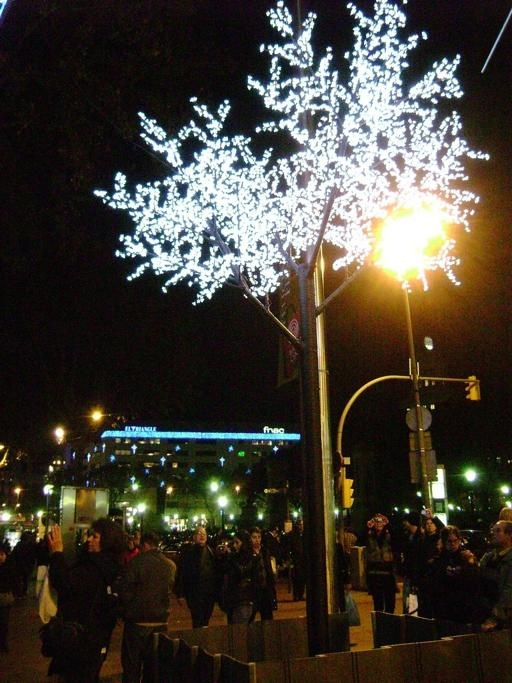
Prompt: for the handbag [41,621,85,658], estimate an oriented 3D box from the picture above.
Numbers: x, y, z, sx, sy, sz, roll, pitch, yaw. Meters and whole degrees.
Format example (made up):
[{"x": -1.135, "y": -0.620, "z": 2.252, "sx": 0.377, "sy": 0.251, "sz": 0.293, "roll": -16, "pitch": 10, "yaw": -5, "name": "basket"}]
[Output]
[{"x": -1.455, "y": 2.236, "z": 4.264, "sx": 0.289, "sy": 0.287, "sz": 0.230, "roll": 14, "pitch": -26, "yaw": -7, "name": "handbag"}]
